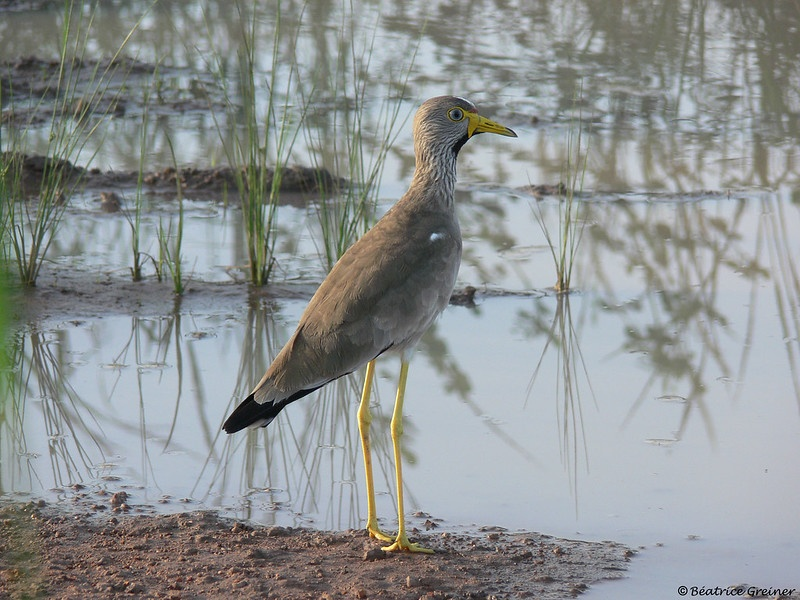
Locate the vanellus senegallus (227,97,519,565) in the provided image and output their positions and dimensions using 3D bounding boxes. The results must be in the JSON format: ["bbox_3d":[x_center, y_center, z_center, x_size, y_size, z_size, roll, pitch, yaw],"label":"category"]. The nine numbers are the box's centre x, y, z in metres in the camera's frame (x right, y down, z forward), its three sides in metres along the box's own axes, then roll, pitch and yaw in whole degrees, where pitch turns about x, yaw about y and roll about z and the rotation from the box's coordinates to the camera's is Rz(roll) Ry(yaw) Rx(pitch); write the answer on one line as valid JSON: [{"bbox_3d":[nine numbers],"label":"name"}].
[{"bbox_3d":[-0.160,0.071,7.365,1.617,3.221,0.655,3,-5,-9],"label":"vanellus senegallus"}]
